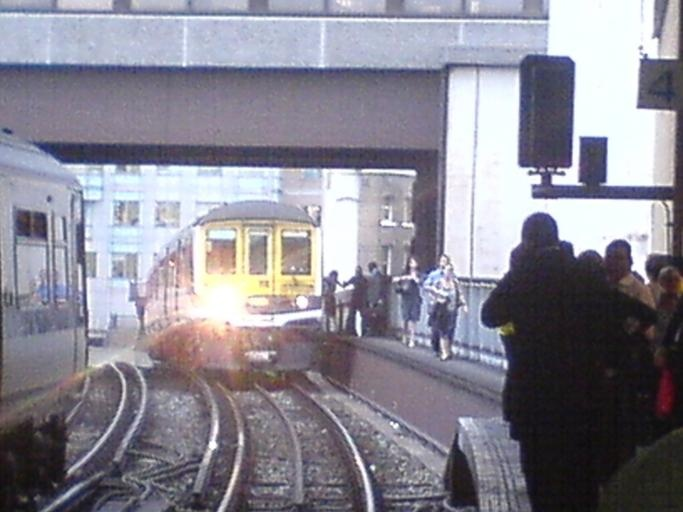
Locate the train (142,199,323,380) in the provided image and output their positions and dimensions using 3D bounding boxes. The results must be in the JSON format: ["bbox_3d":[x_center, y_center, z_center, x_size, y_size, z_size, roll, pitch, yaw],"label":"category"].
[{"bbox_3d":[-1.936,0.504,18.846,1.447,2.312,6.052,1,-3,-12],"label":"train"}]

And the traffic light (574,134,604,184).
[{"bbox_3d":[2.778,-1.053,11.102,0.318,0.544,0.239,-3,3,12],"label":"traffic light"}]
